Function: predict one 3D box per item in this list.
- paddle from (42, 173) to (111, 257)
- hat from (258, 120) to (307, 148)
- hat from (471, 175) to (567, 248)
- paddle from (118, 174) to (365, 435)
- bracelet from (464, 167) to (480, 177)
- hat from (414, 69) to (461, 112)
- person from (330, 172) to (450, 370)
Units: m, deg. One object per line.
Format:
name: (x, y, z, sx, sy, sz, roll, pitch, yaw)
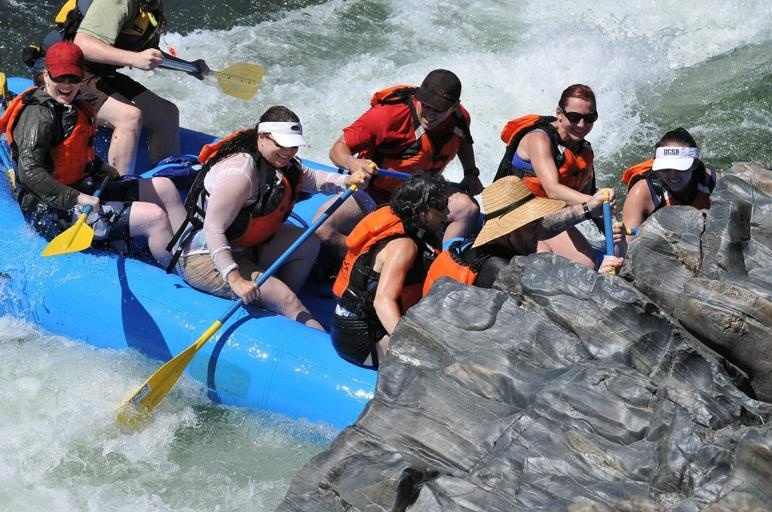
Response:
paddle: (-2.411, -0.268, 6.401, 0.230, 0.036, 0.810, 15, 60, 18)
hat: (-0.770, -0.926, 6.145, 0.270, 0.218, 0.121, 18, 99, 46)
hat: (0.897, -0.271, 5.806, 0.512, 0.563, 0.290, -33, 84, -14)
paddle: (-1.177, 0.422, 6.272, 2.803, 0.235, 0.180, -47, 21, -23)
bracelet: (0.792, -0.773, 7.498, 0.112, 0.120, 0.080, -12, 77, 45)
hat: (0.428, -1.347, 6.654, 0.270, 0.207, 0.398, 27, 31, 6)
person: (-0.025, 0.086, 5.928, 0.659, 0.980, 1.163, 17, 56, 22)
